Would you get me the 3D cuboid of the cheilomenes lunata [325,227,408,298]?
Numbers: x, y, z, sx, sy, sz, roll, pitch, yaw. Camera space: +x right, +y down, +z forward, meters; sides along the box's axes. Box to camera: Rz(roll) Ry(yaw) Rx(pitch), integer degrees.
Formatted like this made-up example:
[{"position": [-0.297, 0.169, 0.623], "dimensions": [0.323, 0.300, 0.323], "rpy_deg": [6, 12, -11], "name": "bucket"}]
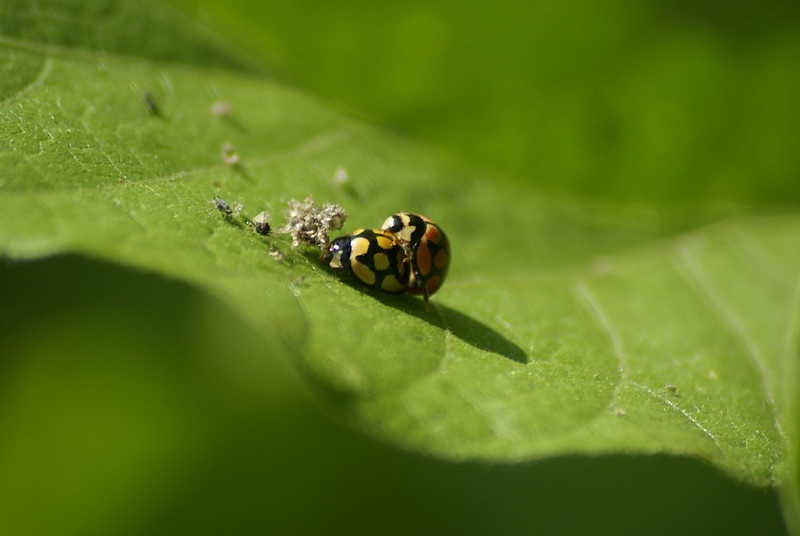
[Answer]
[{"position": [-0.078, -0.005, 1.882], "dimensions": [0.168, 0.096, 0.132], "rpy_deg": [20, 76, -16], "name": "cheilomenes lunata"}]
